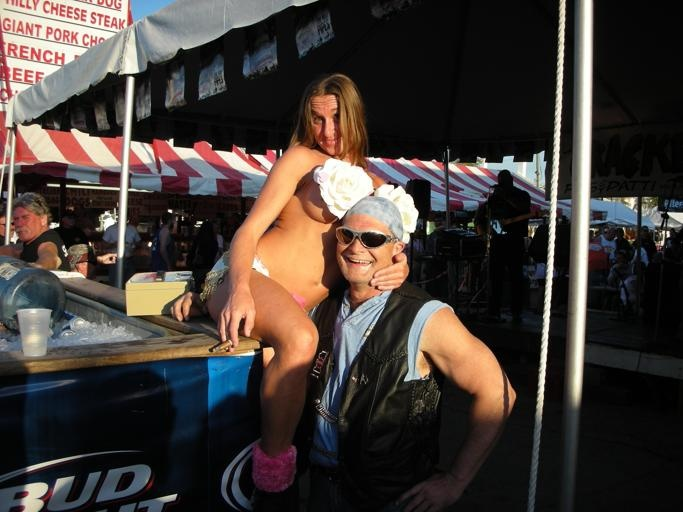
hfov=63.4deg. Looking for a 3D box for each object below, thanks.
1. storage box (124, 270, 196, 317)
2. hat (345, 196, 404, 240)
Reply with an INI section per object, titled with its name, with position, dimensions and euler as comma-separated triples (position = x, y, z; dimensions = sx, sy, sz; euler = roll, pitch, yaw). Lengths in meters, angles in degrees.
[storage box]
position = -1.111, 0.225, 3.418
dimensions = 0.420, 0.192, 0.441
euler = -1, 8, -26
[hat]
position = 0.172, -0.179, 2.739
dimensions = 0.232, 0.137, 0.202
euler = 37, 6, 16
